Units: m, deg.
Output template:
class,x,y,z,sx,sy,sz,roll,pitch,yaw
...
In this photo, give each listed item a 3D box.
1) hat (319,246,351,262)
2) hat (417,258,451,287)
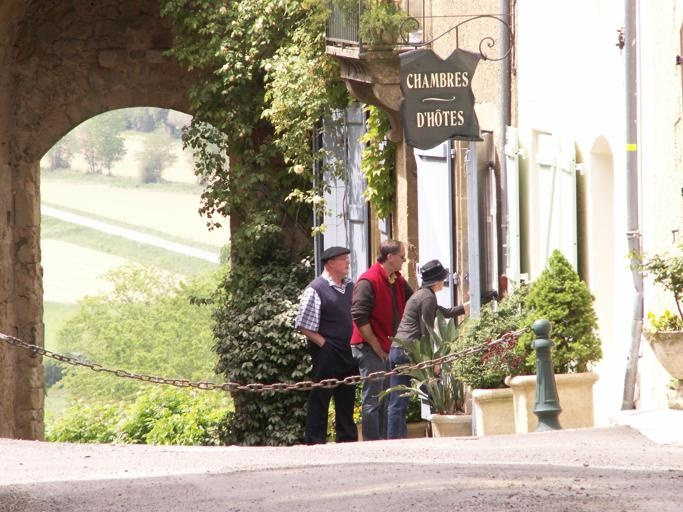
class,x,y,z,sx,sy,sz,roll,pitch,yaw
hat,-0.063,-0.038,27.942,0.392,0.225,0.318,-1,-8,1
hat,1.305,0.236,27.585,0.360,0.328,0.193,-10,-46,31
